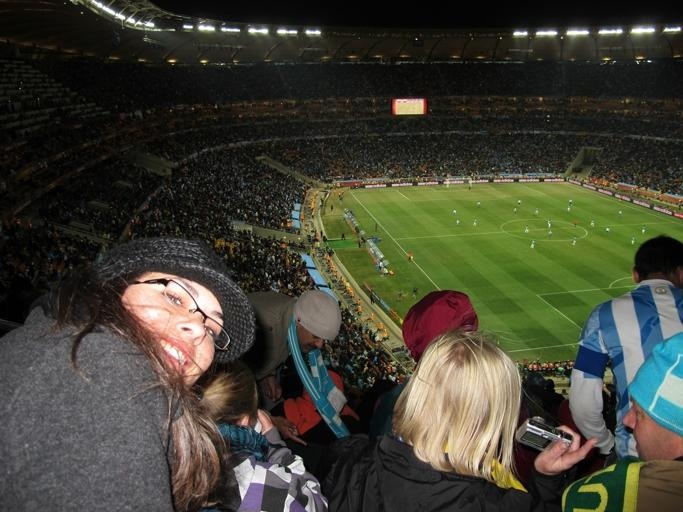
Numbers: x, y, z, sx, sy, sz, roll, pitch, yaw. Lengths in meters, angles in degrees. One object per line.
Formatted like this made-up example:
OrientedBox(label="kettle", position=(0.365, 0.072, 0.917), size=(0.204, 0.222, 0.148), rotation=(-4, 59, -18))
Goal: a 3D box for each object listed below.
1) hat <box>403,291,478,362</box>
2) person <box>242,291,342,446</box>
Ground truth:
OrientedBox(label="hat", position=(0.811, 0.653, 3.971), size=(0.572, 0.736, 0.275), rotation=(31, 36, -4))
OrientedBox(label="person", position=(-0.581, 1.292, 5.131), size=(1.372, 1.361, 0.887), rotation=(40, 49, 15))
